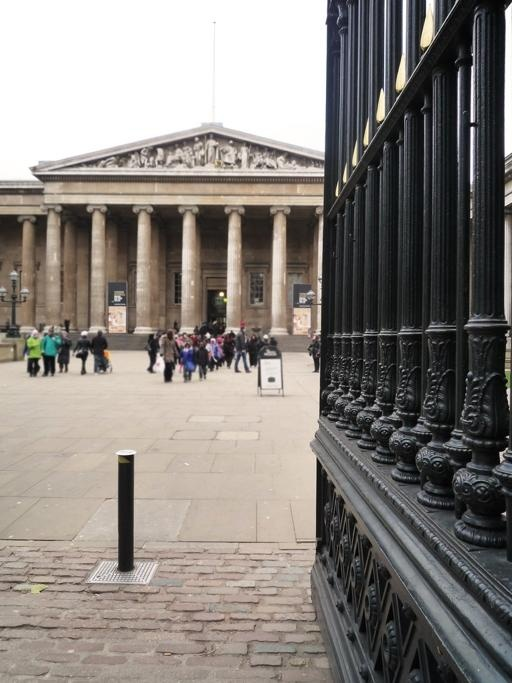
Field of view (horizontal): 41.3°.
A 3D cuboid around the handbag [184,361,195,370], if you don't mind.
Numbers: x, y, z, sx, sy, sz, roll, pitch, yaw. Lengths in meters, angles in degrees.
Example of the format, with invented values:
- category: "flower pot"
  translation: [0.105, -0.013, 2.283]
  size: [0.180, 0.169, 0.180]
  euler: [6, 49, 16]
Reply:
- category: "handbag"
  translation: [-1.990, 0.718, 20.589]
  size: [0.213, 0.258, 0.396]
  euler: [0, -3, -19]

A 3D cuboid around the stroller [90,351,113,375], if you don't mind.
- category: "stroller"
  translation: [-5.449, 0.760, 23.618]
  size: [0.611, 1.215, 1.034]
  euler: [0, 3, -12]

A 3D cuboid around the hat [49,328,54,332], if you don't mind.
- category: "hat"
  translation: [-7.592, -0.456, 25.181]
  size: [0.115, 0.202, 0.190]
  euler: [-2, 30, -2]

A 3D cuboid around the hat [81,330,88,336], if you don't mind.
- category: "hat"
  translation: [-7.773, -0.412, 30.729]
  size: [0.153, 0.272, 0.237]
  euler: [8, 12, 7]
